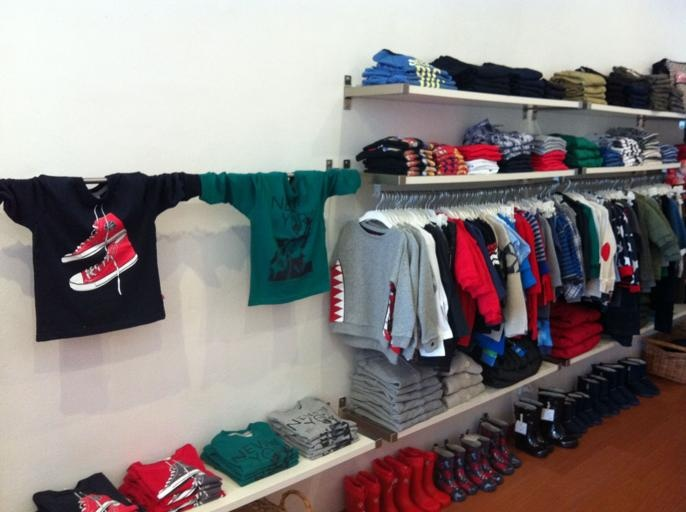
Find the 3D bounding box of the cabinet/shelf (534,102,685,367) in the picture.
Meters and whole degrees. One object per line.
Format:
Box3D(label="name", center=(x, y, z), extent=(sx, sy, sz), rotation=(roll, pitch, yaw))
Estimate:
Box3D(label="cabinet/shelf", center=(2.105, -0.209, 4.386), extent=(2.159, 1.981, 0.648), rotation=(-6, 12, -40))
